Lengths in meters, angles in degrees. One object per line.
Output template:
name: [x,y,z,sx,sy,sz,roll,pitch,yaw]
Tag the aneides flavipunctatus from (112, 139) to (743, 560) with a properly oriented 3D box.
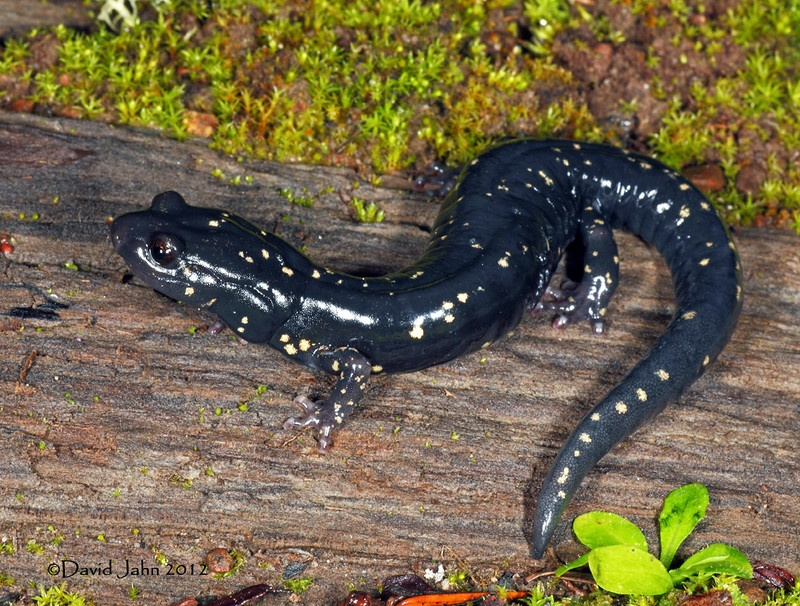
aneides flavipunctatus: [0.275,0.214,8.197,4.304,4.655,3.128,-13,-64,-37]
